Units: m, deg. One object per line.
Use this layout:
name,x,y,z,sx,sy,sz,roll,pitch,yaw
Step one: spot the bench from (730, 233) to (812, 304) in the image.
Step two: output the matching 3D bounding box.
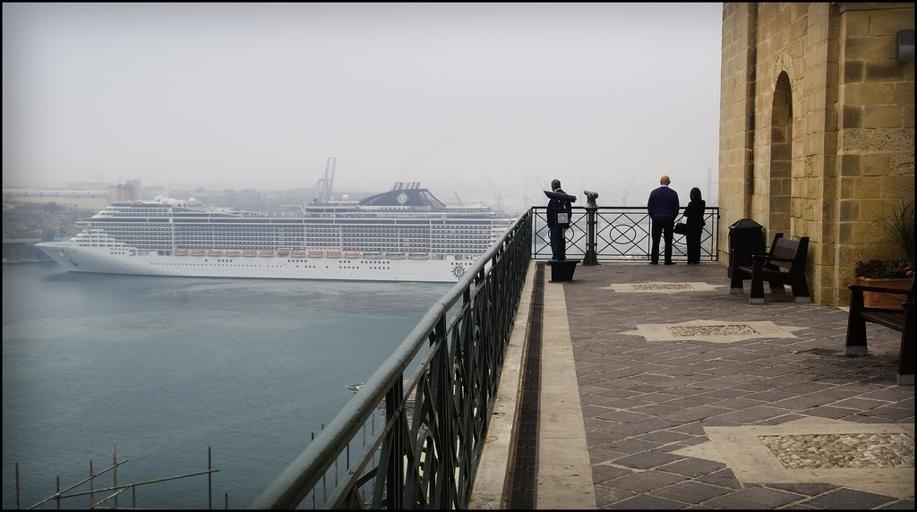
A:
bench,5.627,0.231,14.055,1.264,1.102,2.051,0,0,5

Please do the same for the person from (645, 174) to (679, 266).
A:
person,4.869,-0.860,18.484,0.728,2.067,0.946,1,12,12

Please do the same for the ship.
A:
ship,-15.993,-1.918,76.425,37.682,6.779,17.823,0,10,8

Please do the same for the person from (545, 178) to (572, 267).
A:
person,2.177,-0.757,16.669,0.594,1.697,1.384,-1,11,6

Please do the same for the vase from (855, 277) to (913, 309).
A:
vase,6.961,0.618,12.688,0.893,0.323,0.832,1,1,23

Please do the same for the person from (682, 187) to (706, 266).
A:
person,5.622,-0.745,18.499,0.494,1.827,0.757,1,12,15
